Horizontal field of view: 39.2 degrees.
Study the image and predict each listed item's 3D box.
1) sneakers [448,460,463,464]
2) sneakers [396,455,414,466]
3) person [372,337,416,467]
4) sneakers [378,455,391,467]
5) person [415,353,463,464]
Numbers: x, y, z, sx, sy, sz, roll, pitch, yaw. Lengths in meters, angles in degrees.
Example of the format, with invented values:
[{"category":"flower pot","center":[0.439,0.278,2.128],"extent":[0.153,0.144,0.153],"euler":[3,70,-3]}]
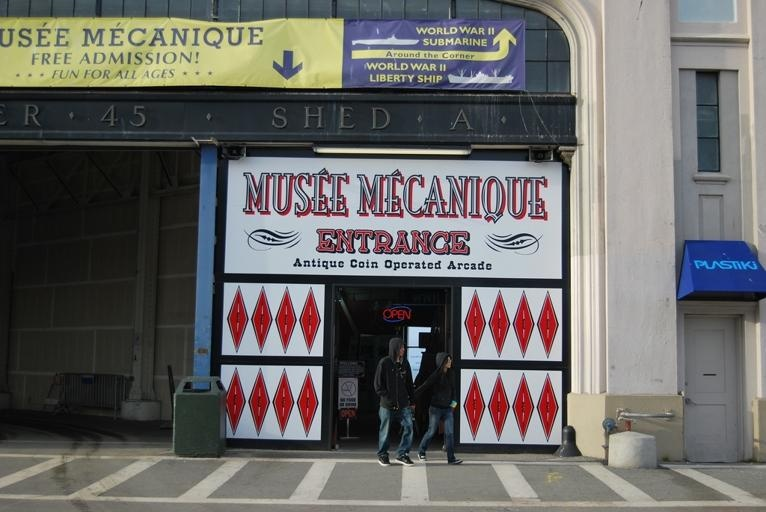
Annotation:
[{"category":"sneakers","center":[1.638,4.668,24.231],"extent":[0.278,0.119,0.114],"euler":[-5,-14,8]},{"category":"sneakers","center":[0.481,4.561,24.008],"extent":[0.430,0.207,0.177],"euler":[6,-7,22]},{"category":"person","center":[0.256,3.278,24.091],"extent":[0.877,2.828,0.663],"euler":[-2,-5,-5]},{"category":"sneakers","center":[0.020,4.583,24.020],"extent":[0.128,0.169,0.346],"euler":[7,-12,-33]},{"category":"person","center":[1.250,3.456,24.229],"extent":[0.939,2.518,0.852],"euler":[-2,-4,2]}]
